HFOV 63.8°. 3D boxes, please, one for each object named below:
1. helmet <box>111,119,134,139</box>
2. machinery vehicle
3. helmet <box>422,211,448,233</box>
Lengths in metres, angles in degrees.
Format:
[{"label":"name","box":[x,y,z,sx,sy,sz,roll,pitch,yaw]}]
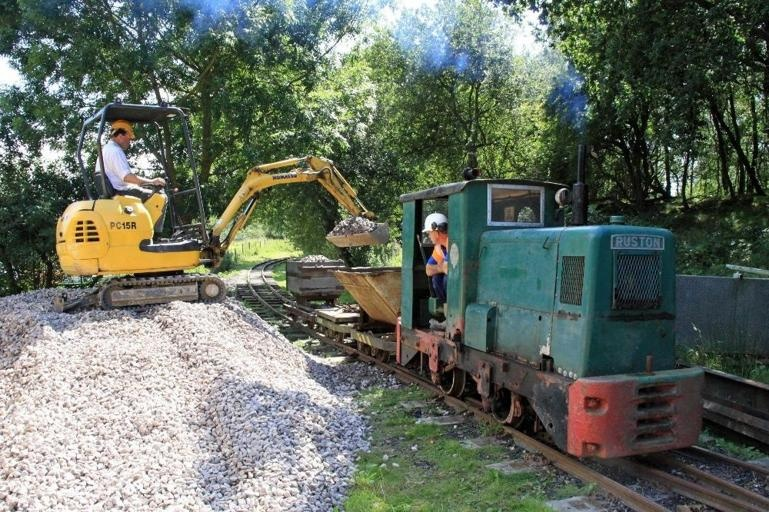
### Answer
[{"label":"helmet","box":[-6.117,-2.971,14.483,0.355,0.343,0.525,9,-2,11]},{"label":"machinery vehicle","box":[-3.943,-1.184,15.977,7.619,4.994,2.932,-2,2,-26]},{"label":"helmet","box":[0.988,-0.670,12.288,0.300,0.255,0.427,-6,1,-39]}]
